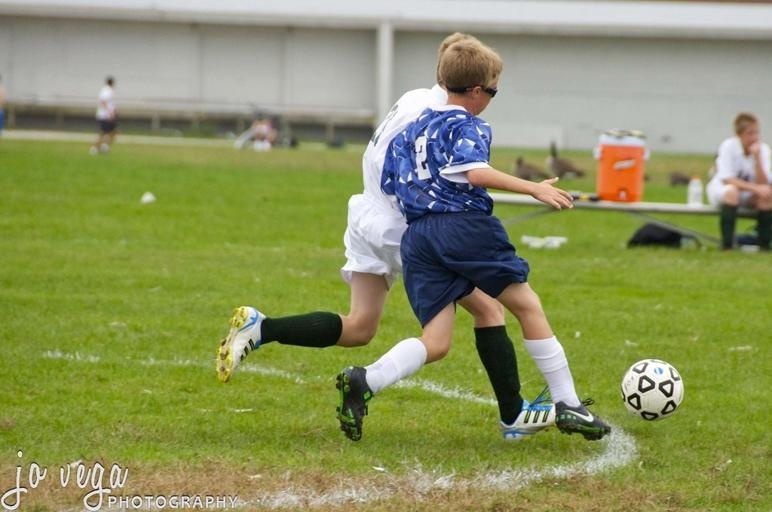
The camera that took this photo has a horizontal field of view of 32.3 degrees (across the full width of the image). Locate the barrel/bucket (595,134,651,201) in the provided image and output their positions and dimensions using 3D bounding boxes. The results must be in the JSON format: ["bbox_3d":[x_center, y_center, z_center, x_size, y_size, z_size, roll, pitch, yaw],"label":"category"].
[{"bbox_3d":[1.810,-0.661,10.074,0.408,0.521,0.337,2,3,3],"label":"barrel/bucket"}]

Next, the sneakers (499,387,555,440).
[{"bbox_3d":[0.944,1.060,8.929,0.504,0.210,0.174,-13,19,-29],"label":"sneakers"}]

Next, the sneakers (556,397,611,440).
[{"bbox_3d":[1.342,1.070,8.898,0.442,0.235,0.150,18,-27,-27],"label":"sneakers"}]
